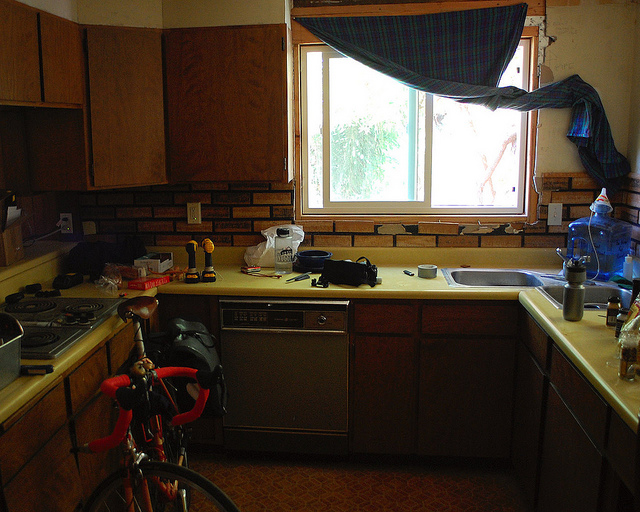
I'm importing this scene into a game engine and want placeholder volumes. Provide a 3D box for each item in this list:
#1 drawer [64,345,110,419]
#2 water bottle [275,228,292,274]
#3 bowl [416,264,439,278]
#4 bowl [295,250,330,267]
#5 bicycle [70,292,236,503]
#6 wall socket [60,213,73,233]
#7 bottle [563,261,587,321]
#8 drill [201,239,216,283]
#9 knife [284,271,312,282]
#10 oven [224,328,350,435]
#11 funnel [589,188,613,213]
[{"bbox_3d":[-0.950,0.513,2.145,0.151,0.194,0.311,2,13,10],"label":"drawer"},{"bbox_3d":[-0.214,-0.031,3.124,0.106,0.249,0.155,-2,12,-4],"label":"water bottle"},{"bbox_3d":[0.602,0.086,2.980,0.106,0.060,0.059,-1,12,-2],"label":"bowl"},{"bbox_3d":[-0.043,0.017,3.164,0.200,0.064,0.166,-2,12,-4],"label":"bowl"},{"bbox_3d":[-0.611,0.560,2.271,0.561,0.715,1.080,-2,1,-8],"label":"bicycle"},{"bbox_3d":[-1.592,-0.206,3.332,0.063,0.122,0.031,-1,11,-2],"label":"wall socket"},{"bbox_3d":[1.099,0.141,2.287,0.080,0.253,0.118,5,13,26],"label":"bottle"},{"bbox_3d":[-0.642,0.013,3.024,0.080,0.226,0.250,-4,12,-12],"label":"drill"},{"bbox_3d":[-0.109,0.105,2.996,0.043,0.014,0.164,14,23,39],"label":"knife"},{"bbox_3d":[-0.151,0.674,3.090,0.689,0.682,0.503,2,10,9],"label":"oven"},{"bbox_3d":[1.566,-0.311,2.976,0.115,0.132,0.120,7,10,22],"label":"funnel"}]
